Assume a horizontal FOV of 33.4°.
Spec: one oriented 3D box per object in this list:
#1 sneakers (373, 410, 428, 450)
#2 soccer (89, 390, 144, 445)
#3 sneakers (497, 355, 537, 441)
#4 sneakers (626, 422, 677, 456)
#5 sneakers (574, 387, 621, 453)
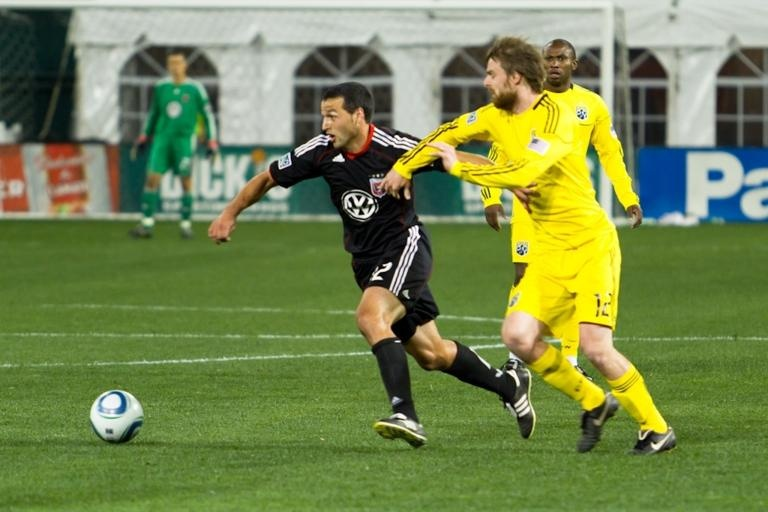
[{"bbox_3d":[0.124,1.199,8.889,0.398,0.169,0.198,17,39,-5],"label":"sneakers"},{"bbox_3d":[-1.902,1.157,9.114,0.403,0.376,0.393,-2,16,-18],"label":"soccer"},{"bbox_3d":[0.981,1.063,9.381,0.229,0.184,0.554,31,30,-27],"label":"sneakers"},{"bbox_3d":[1.887,1.297,8.967,0.386,0.159,0.132,-12,-6,-6],"label":"sneakers"},{"bbox_3d":[1.497,1.186,9.068,0.243,0.496,0.167,30,-13,-2],"label":"sneakers"}]
